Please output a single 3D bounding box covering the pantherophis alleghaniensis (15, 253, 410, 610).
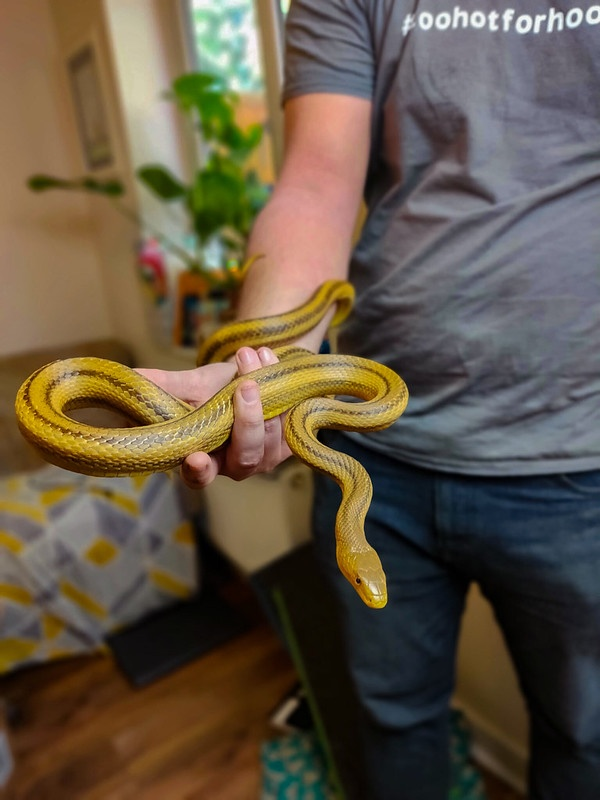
[{"bbox_3d":[-0.109,0.078,1.148,0.642,0.136,0.544,-15,59,-18],"label":"pantherophis alleghaniensis"}]

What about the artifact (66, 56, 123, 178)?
[{"bbox_3d":[-0.290,-0.403,0.990,0.046,0.159,0.043,-12,34,-7],"label":"artifact"}]
